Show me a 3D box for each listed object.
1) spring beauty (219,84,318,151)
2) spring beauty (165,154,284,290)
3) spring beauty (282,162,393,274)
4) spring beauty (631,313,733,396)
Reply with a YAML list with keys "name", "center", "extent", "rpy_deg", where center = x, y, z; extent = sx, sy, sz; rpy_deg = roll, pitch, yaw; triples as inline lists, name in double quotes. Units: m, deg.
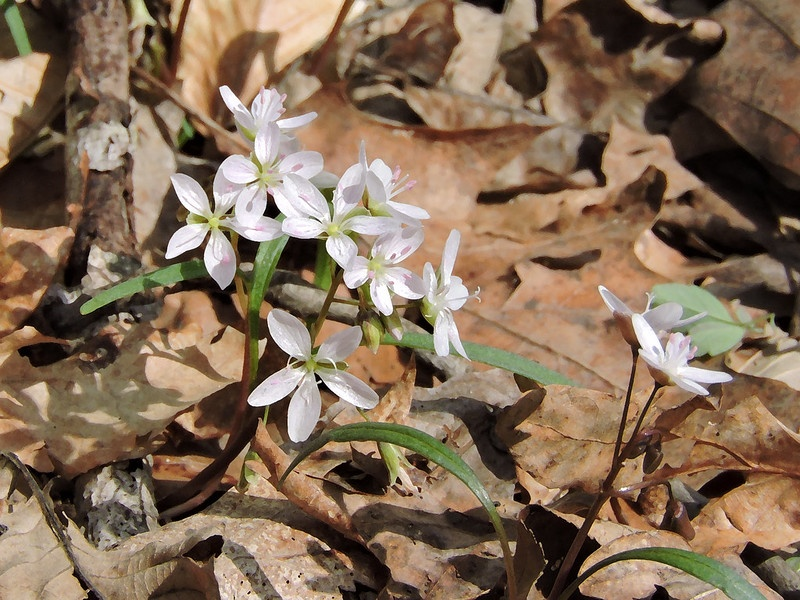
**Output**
- name: "spring beauty"
  center: [-0.616, -0.798, 3.576]
  extent: [0.382, 0.167, 0.369]
  rpy_deg: [13, -11, -37]
- name: "spring beauty"
  center: [-0.768, -0.338, 3.435]
  extent: [0.342, 0.404, 0.107]
  rpy_deg: [9, 56, 12]
- name: "spring beauty"
  center: [-0.276, -0.354, 3.364]
  extent: [0.424, 0.186, 0.461]
  rpy_deg: [-3, -10, -42]
- name: "spring beauty"
  center: [1.129, 0.243, 3.379]
  extent: [0.348, 0.170, 0.369]
  rpy_deg: [11, 1, 36]
